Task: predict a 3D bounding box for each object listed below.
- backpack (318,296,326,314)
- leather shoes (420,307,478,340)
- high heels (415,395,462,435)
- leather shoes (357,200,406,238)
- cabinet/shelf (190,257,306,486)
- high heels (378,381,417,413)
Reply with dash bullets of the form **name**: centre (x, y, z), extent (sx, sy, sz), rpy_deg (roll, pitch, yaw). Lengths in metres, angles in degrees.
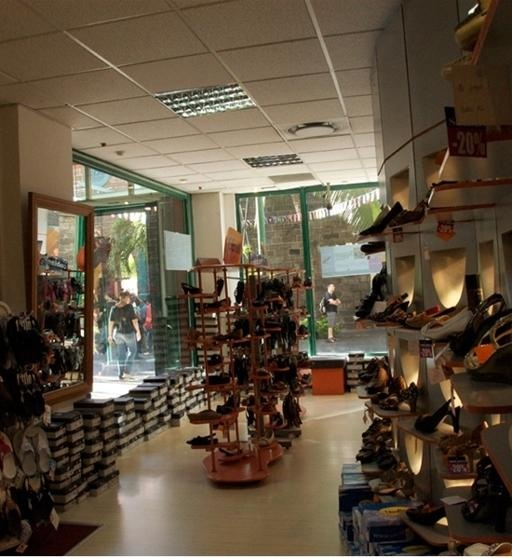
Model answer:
- **backpack**: centre (1.307, 0.521, 8.962), extent (0.104, 0.301, 0.131), rpy_deg (6, 12, 2)
- **leather shoes**: centre (0.803, 0.193, 1.885), extent (0.207, 0.079, 0.119), rpy_deg (-29, 20, -2)
- **high heels**: centre (1.051, 0.788, 2.607), extent (0.089, 0.175, 0.274), rpy_deg (26, -31, -34)
- **leather shoes**: centre (0.822, -0.378, 3.002), extent (0.160, 0.128, 0.397), rpy_deg (38, -33, -16)
- **cabinet/shelf**: centre (-0.080, 1.153, 5.381), extent (1.166, 2.208, 2.645), rpy_deg (1, 0, 11)
- **high heels**: centre (1.000, 0.795, 3.081), extent (0.155, 0.115, 0.286), rpy_deg (-6, -11, 34)
